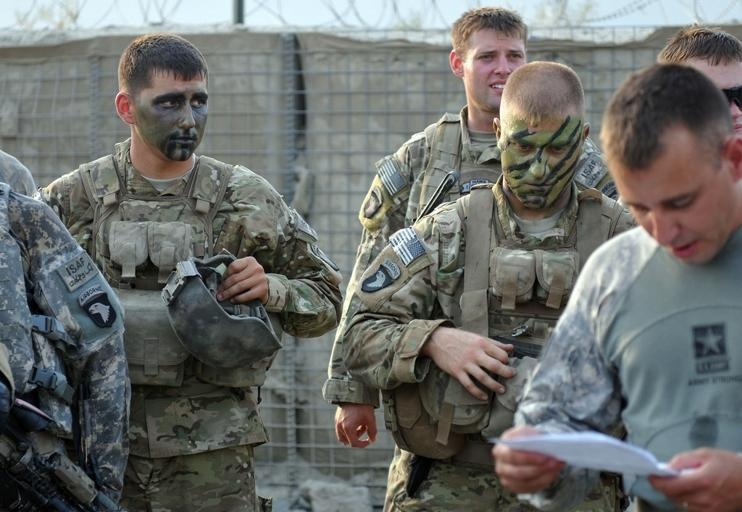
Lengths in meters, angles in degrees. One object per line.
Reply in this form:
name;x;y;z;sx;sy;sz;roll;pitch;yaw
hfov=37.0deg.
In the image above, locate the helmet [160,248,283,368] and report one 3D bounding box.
helmet;-0.794;0.300;5.509;0.306;0.503;0.619;-46;-38;22
